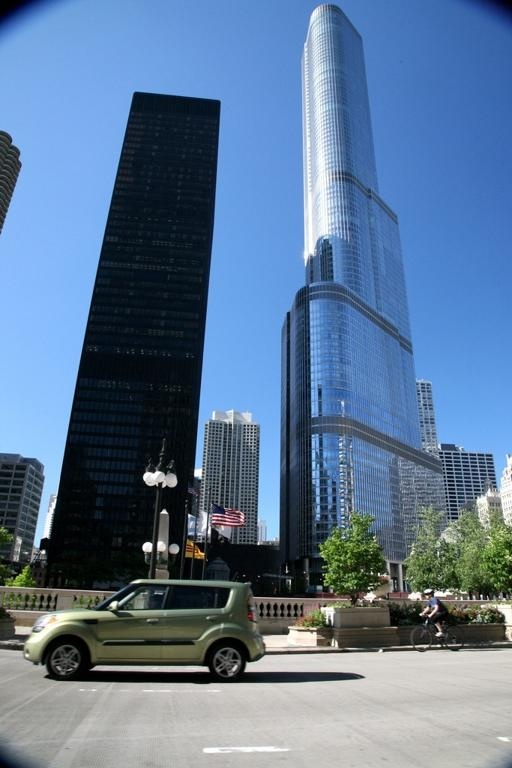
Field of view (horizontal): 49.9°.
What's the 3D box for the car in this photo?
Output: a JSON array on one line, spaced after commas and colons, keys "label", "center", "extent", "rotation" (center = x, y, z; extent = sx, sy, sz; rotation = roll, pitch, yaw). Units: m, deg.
[{"label": "car", "center": [-1.729, 3.944, 9.293], "extent": [3.460, 1.539, 1.805], "rotation": [6, -35, -5]}]
